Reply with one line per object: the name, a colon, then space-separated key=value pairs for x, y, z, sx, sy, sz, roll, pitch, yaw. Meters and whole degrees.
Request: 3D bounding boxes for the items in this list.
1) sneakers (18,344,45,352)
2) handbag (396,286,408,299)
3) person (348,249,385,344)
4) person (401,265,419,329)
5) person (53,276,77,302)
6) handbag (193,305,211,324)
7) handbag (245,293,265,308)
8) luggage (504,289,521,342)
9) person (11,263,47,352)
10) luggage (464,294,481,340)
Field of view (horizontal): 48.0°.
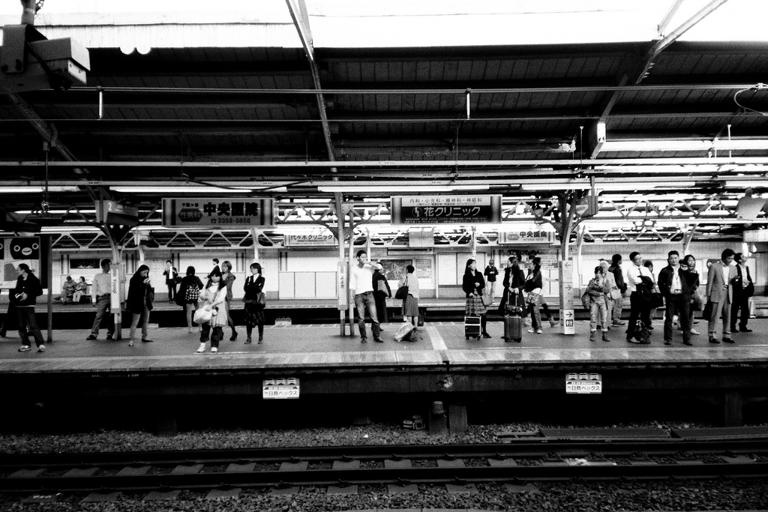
sneakers: x=-9.257 y=2.466 z=22.735 sx=0.380 sy=0.151 sz=0.128 roll=5 pitch=-19 yaw=-15
handbag: x=0.497 y=1.041 z=23.891 sx=0.266 sy=0.322 sz=0.185 roll=6 pitch=-32 yaw=14
person: x=-0.478 y=1.092 z=23.547 sx=0.839 sy=2.574 sz=1.392 roll=0 pitch=-5 yaw=-3
person: x=0.722 y=1.110 z=23.793 sx=0.382 sy=1.755 sz=0.772 roll=0 pitch=-5 yaw=-2
person: x=-13.438 y=1.447 z=36.663 sx=0.743 sy=1.236 sz=1.250 roll=3 pitch=-6 yaw=-32
handbag: x=-4.528 y=1.582 z=21.992 sx=0.478 sy=0.492 sz=0.365 roll=-10 pitch=-17 yaw=19
handbag: x=-3.437 y=1.227 z=23.304 sx=0.420 sy=0.237 sz=0.364 roll=-4 pitch=-9 yaw=7
luggage: x=3.487 y=1.628 z=23.570 sx=0.452 sy=1.466 sz=0.969 roll=-1 pitch=-5 yaw=9
person: x=-9.304 y=1.383 z=22.698 sx=0.779 sy=2.333 sz=0.795 roll=2 pitch=-6 yaw=-24
luggage: x=2.462 y=1.693 z=23.861 sx=0.408 sy=1.230 sz=0.328 roll=-2 pitch=-5 yaw=16
